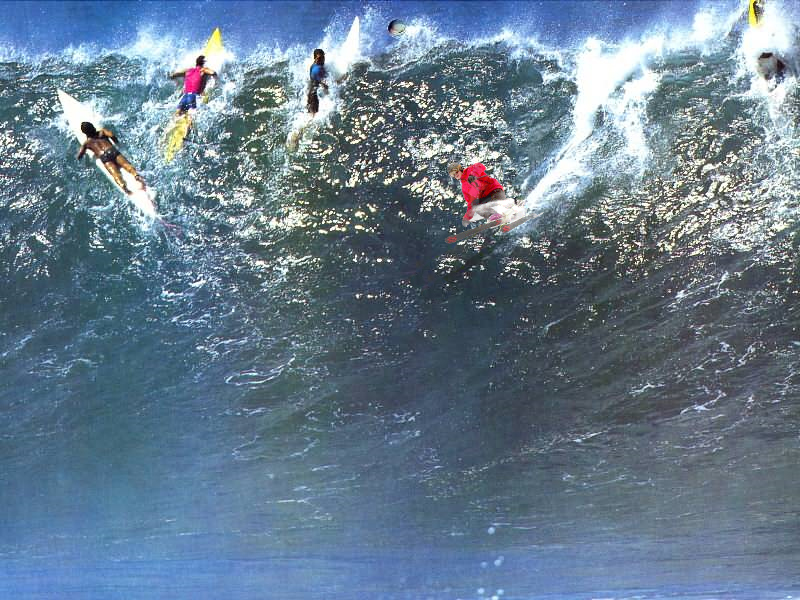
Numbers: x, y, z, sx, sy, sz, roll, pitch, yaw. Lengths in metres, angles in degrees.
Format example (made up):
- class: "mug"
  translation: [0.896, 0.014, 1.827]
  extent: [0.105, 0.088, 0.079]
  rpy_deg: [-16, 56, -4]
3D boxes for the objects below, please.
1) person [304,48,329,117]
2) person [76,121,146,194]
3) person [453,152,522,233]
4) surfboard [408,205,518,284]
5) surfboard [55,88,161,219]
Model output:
- class: "person"
  translation: [-1.623, -4.202, 17.644]
  extent: [0.389, 1.142, 0.794]
  rpy_deg: [8, 23, -7]
- class: "person"
  translation: [-5.505, -2.742, 17.119]
  extent: [1.688, 0.766, 0.587]
  rpy_deg: [45, -10, -18]
- class: "person"
  translation: [1.385, -1.819, 15.883]
  extent: [0.912, 1.331, 1.242]
  rpy_deg: [21, 25, 23]
- class: "surfboard"
  translation: [1.130, -0.928, 16.128]
  extent: [0.254, 2.242, 0.113]
  rpy_deg: [55, 0, 32]
- class: "surfboard"
  translation: [-5.665, -2.693, 17.515]
  extent: [3.365, 0.479, 0.159]
  rpy_deg: [46, 1, 4]
